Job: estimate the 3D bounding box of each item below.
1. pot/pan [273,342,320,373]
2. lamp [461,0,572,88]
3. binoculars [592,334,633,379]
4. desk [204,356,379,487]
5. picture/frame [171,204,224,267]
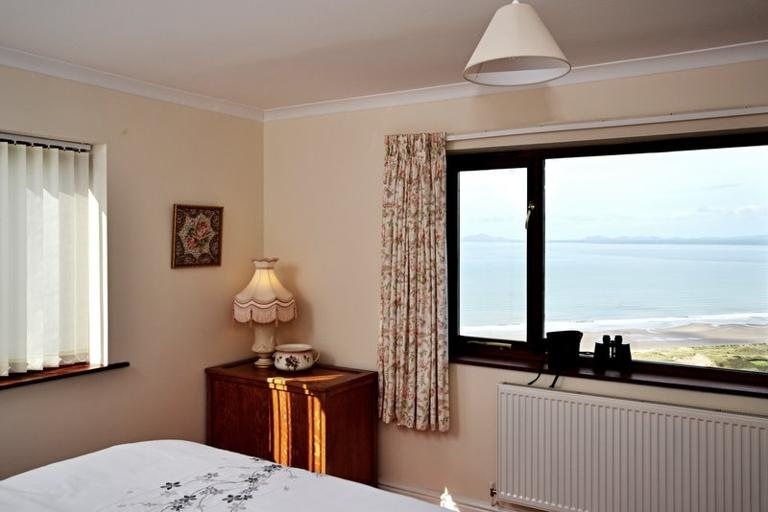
[{"bbox_3d":[-0.679,0.827,4.495,0.208,0.117,0.273,-4,-7,28],"label":"pot/pan"},{"bbox_3d":[0.650,-1.000,2.716,0.478,0.340,0.479,1,-9,-5],"label":"lamp"},{"bbox_3d":[1.619,0.718,3.916,0.263,0.260,0.113,3,-2,27],"label":"binoculars"},{"bbox_3d":[-0.727,1.414,4.546,1.101,1.078,0.624,5,10,31],"label":"desk"},{"bbox_3d":[-1.527,-0.166,4.469,0.042,0.564,0.498,6,7,39],"label":"picture/frame"}]
